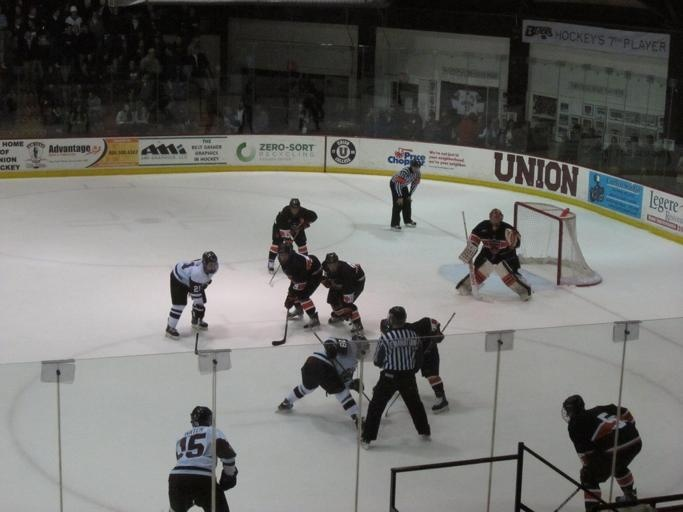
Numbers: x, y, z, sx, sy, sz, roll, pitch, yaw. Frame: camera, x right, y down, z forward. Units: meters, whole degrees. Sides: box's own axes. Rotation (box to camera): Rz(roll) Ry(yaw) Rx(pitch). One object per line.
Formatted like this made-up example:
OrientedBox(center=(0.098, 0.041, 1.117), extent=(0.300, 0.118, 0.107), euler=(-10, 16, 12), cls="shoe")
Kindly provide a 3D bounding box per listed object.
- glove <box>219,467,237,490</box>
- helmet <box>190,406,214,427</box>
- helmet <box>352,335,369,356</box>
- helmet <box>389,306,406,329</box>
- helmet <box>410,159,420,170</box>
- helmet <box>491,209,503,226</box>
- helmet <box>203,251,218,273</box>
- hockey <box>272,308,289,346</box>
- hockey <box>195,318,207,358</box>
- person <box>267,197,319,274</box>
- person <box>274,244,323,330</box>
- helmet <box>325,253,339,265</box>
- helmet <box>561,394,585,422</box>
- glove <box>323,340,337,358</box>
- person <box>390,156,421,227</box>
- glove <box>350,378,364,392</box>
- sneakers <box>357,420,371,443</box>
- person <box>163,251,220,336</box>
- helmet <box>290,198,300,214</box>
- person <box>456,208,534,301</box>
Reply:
OrientedBox(center=(-1.145, 2.270, 9.872), extent=(0.166, 0.185, 0.206), euler=(2, -4, -1), cls="glove")
OrientedBox(center=(-1.390, 1.580, 9.685), extent=(0.167, 0.215, 0.206), euler=(3, 1, 15), cls="helmet")
OrientedBox(center=(0.170, 0.928, 9.883), extent=(0.154, 0.163, 0.225), euler=(-4, 11, -22), cls="helmet")
OrientedBox(center=(0.675, 0.782, 11.993), extent=(0.241, 0.357, 0.235), euler=(1, 35, -2), cls="helmet")
OrientedBox(center=(1.497, -1.846, 19.853), extent=(0.198, 0.204, 0.327), euler=(1, 10, 0), cls="helmet")
OrientedBox(center=(2.519, -0.635, 15.914), extent=(0.209, 0.278, 0.269), euler=(-3, 25, 9), cls="helmet")
OrientedBox(center=(-1.881, 0.107, 13.806), extent=(0.202, 0.329, 0.261), euler=(-2, 11, -14), cls="helmet")
OrientedBox(center=(-0.921, 1.085, 14.473), extent=(0.206, 0.048, 0.544), euler=(12, 34, -4), cls="hockey")
OrientedBox(center=(-1.910, 1.114, 13.086), extent=(0.100, 0.344, 0.328), euler=(12, 7, 10), cls="hockey")
OrientedBox(center=(-0.847, -0.332, 16.885), extent=(0.858, 1.460, 0.794), euler=(-6, 27, -19), cls="person")
OrientedBox(center=(-0.596, 0.390, 14.517), extent=(0.693, 1.292, 0.694), euler=(-4, 16, -4), cls="person")
OrientedBox(center=(-0.151, 0.037, 14.201), extent=(0.203, 0.146, 0.324), euler=(2, 10, 9), cls="helmet")
OrientedBox(center=(2.420, 1.618, 10.243), extent=(0.287, 0.297, 0.227), euler=(0, -3, -11), cls="helmet")
OrientedBox(center=(-0.131, 0.955, 9.901), extent=(0.112, 0.151, 0.157), euler=(-1, 2, -7), cls="glove")
OrientedBox(center=(1.299, -1.312, 20.312), extent=(0.594, 1.423, 1.021), euler=(1, 10, 3), cls="person")
OrientedBox(center=(0.140, 1.326, 9.886), extent=(0.145, 0.141, 0.102), euler=(18, -14, -24), cls="glove")
OrientedBox(center=(0.218, 1.810, 9.887), extent=(0.097, 0.292, 0.204), euler=(-2, 0, -7), cls="sneakers")
OrientedBox(center=(-2.209, 0.520, 14.160), extent=(0.728, 1.274, 0.921), euler=(-1, 10, -11), cls="person")
OrientedBox(center=(-0.814, -0.878, 16.670), extent=(0.181, 0.216, 0.222), euler=(0, 34, -6), cls="helmet")
OrientedBox(center=(2.516, -0.017, 16.006), extent=(1.311, 1.457, 0.836), euler=(3, 13, 24), cls="person")
